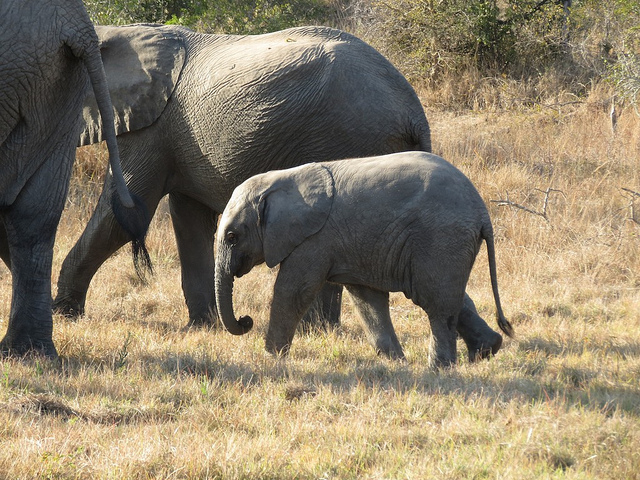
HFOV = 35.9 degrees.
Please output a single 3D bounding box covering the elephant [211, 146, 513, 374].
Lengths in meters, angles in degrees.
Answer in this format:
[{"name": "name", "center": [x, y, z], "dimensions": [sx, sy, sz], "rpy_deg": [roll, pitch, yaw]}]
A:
[{"name": "elephant", "center": [0.334, 0.208, 8.781], "dimensions": [2.658, 2.218, 1.055], "rpy_deg": [1, 17, 7]}]
